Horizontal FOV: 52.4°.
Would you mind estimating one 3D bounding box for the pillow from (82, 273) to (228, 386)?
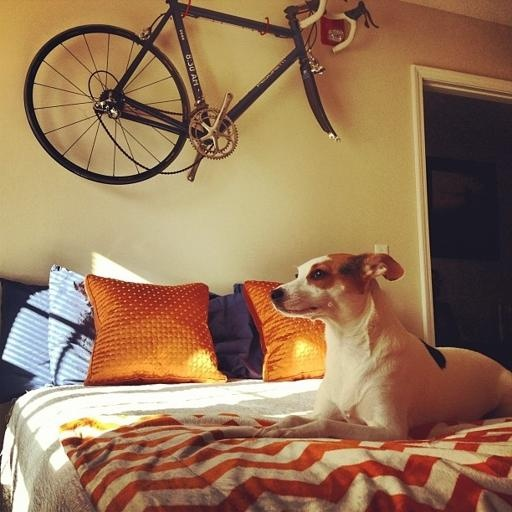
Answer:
[{"bbox_3d":[-0.372,0.264,1.904,0.474,0.356,0.242,5,-7,-24],"label":"pillow"}]
